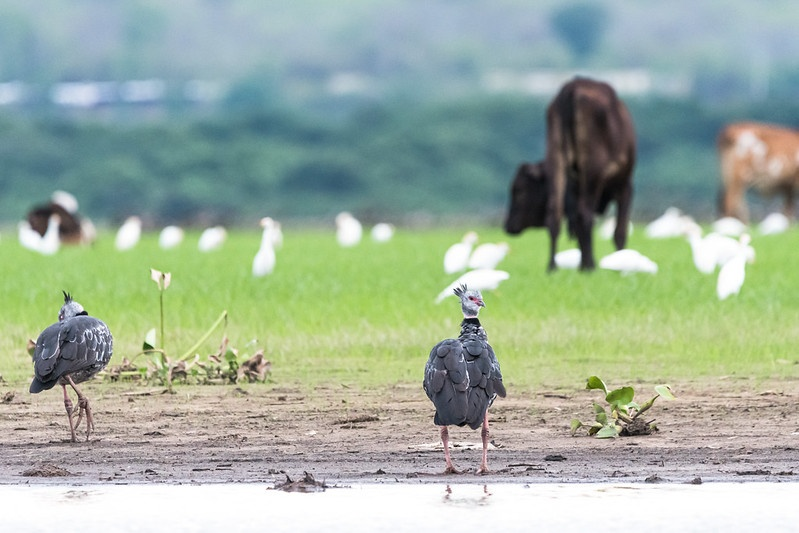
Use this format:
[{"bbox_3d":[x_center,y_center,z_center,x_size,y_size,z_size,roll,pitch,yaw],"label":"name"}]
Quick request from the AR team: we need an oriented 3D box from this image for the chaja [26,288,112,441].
[{"bbox_3d":[-5.146,1.516,22.695,1.248,2.335,0.709,-1,-2,-19],"label":"chaja"}]

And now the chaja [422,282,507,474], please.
[{"bbox_3d":[0.942,1.674,21.611,1.066,2.775,0.669,0,-2,-25],"label":"chaja"}]
